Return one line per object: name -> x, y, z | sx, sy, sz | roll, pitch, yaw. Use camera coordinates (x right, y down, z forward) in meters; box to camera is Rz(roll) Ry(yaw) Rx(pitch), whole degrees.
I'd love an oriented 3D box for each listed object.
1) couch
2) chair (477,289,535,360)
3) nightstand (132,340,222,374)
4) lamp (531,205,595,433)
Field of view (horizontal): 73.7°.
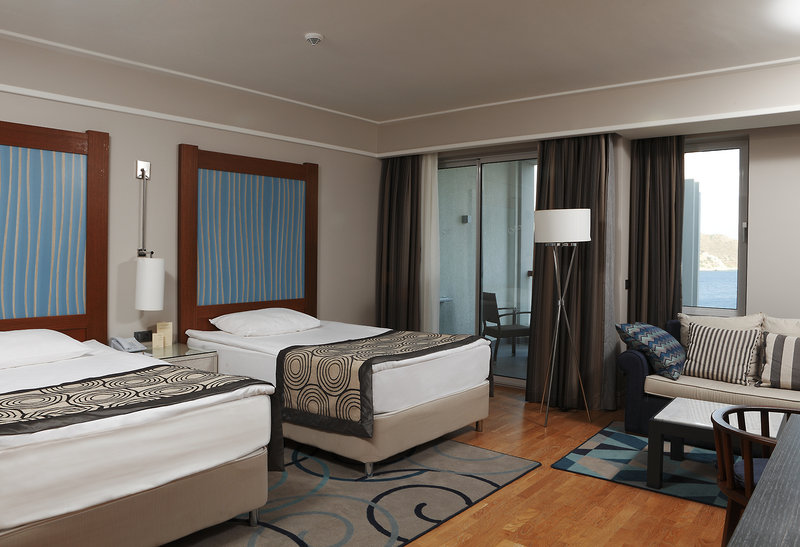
couch -> 2.710, 0.902, 4.846 | 1.859, 1.290, 1.023 | -2, -4, 40
chair -> 1.205, 0.589, 6.410 | 0.702, 0.919, 0.655 | 0, 0, -10
nightstand -> -1.931, 0.718, 4.718 | 0.364, 0.274, 0.384 | 4, 5, 39
lamp -> 1.633, 0.398, 5.342 | 0.612, 2.083, 0.791 | 3, 9, 18
